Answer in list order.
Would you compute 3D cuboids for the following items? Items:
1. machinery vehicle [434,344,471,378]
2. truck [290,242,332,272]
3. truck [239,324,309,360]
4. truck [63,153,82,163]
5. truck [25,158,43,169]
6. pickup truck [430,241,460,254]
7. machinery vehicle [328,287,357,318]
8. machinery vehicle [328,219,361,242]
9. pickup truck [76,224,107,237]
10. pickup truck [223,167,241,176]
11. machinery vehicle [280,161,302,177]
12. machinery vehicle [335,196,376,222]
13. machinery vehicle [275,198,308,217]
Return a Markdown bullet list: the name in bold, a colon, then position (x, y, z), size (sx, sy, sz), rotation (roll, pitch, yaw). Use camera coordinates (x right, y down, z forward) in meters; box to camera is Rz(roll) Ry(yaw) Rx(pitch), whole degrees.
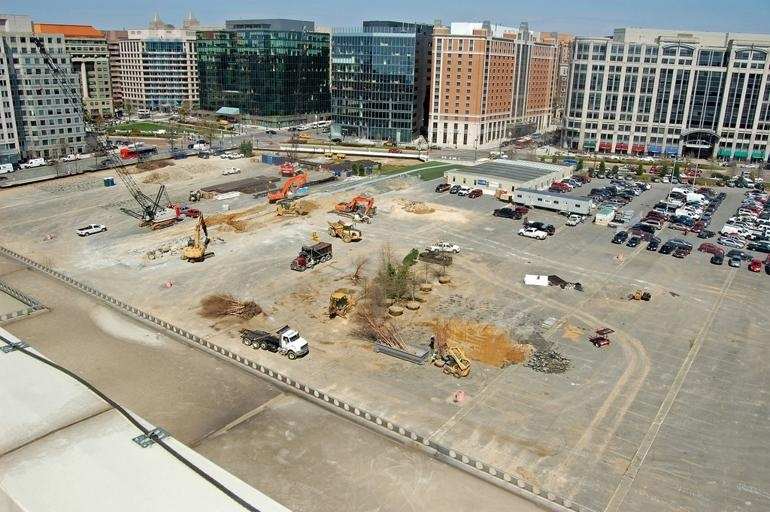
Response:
- **machinery vehicle**: position (6.574, 10.343, 45.760), size (3.984, 1.850, 2.402), rotation (19, 35, 29)
- **truck**: position (-10.351, 0.088, 65.609), size (2.123, 2.610, 6.071), rotation (17, 27, 33)
- **truck**: position (-11.124, 8.549, 47.673), size (6.703, 2.426, 2.078), rotation (10, 27, 25)
- **truck**: position (-77.000, -23.963, 114.941), size (5.809, 1.770, 3.096), rotation (-8, 15, -33)
- **truck**: position (-81.109, -21.555, 109.107), size (3.827, 1.273, 2.362), rotation (-5, 12, -41)
- **pickup truck**: position (8.934, -1.143, 69.980), size (4.871, 1.094, 1.761), rotation (1, 16, 11)
- **machinery vehicle**: position (-5.469, 5.246, 54.458), size (3.272, 1.018, 3.381), rotation (-12, 32, -21)
- **machinery vehicle**: position (-6.531, -3.930, 75.603), size (5.358, 1.934, 1.932), rotation (14, 33, 21)
- **pickup truck**: position (-46.612, -4.056, 75.126), size (4.252, 1.074, 2.002), rotation (-15, 29, -34)
- **pickup truck**: position (-35.025, -19.583, 108.687), size (4.320, 1.059, 1.881), rotation (-14, 27, -31)
- **machinery vehicle**: position (-22.526, -20.194, 111.440), size (5.516, 1.727, 5.300), rotation (-1, 21, -2)
- **machinery vehicle**: position (-6.229, -8.849, 84.861), size (8.630, 3.537, 4.597), rotation (14, 36, 14)
- **machinery vehicle**: position (-16.980, -8.575, 85.204), size (6.706, 2.053, 3.424), rotation (0, 12, -8)
